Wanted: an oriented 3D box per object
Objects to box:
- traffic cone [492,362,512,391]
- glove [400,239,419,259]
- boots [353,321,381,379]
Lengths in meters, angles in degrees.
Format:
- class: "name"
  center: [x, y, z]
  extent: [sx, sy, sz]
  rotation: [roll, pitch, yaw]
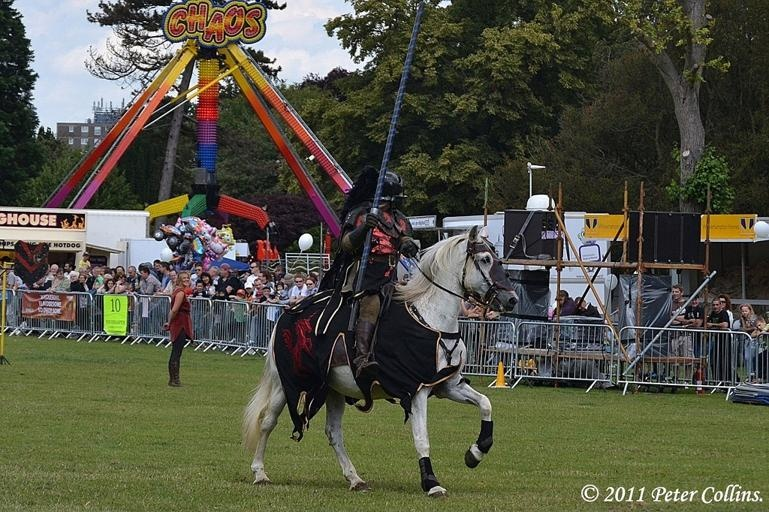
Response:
- class: "traffic cone"
  center: [3.829, 3.991, 53.180]
  extent: [0.756, 0.827, 0.746]
  rotation: [1, -6, -24]
- class: "glove"
  center: [0.689, -0.192, 43.850]
  extent: [0.540, 0.535, 0.401]
  rotation: [1, -3, 8]
- class: "boots"
  center: [-0.511, 2.499, 43.287]
  extent: [0.616, 1.455, 0.508]
  rotation: [2, 11, -1]
